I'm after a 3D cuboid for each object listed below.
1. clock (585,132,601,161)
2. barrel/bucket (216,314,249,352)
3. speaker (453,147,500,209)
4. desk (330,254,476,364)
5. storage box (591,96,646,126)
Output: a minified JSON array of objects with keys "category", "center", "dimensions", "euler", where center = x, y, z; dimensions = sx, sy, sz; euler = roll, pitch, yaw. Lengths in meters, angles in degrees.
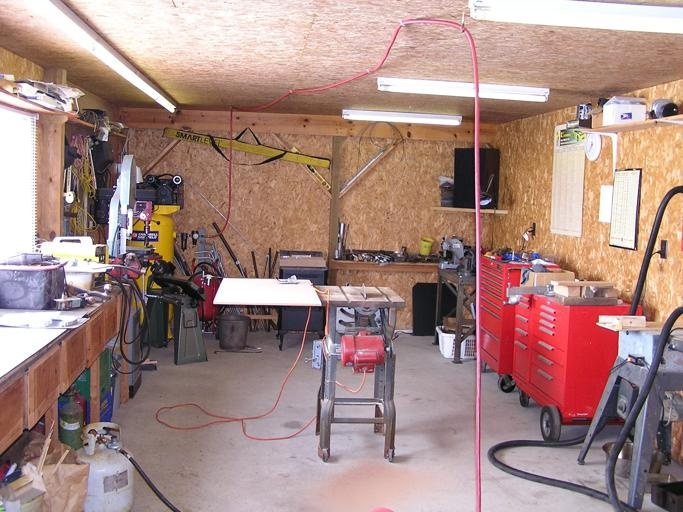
[{"category":"clock","center":[2.458,-1.071,5.493],"dimensions":[0.066,0.264,0.222],"euler":[1,10,-9]},{"category":"barrel/bucket","center":[-1.255,0.885,6.492],"dimensions":[0.403,0.318,0.398],"euler":[4,2,0]},{"category":"speaker","center":[1.710,-0.993,7.169],"dimensions":[0.614,0.778,0.493],"euler":[5,11,15]},{"category":"desk","center":[0.835,0.944,7.168],"dimensions":[1.968,1.219,1.174],"euler":[0,1,-6]},{"category":"storage box","center":[2.355,-1.201,4.628],"dimensions":[0.320,0.265,0.353],"euler":[5,10,13]}]
